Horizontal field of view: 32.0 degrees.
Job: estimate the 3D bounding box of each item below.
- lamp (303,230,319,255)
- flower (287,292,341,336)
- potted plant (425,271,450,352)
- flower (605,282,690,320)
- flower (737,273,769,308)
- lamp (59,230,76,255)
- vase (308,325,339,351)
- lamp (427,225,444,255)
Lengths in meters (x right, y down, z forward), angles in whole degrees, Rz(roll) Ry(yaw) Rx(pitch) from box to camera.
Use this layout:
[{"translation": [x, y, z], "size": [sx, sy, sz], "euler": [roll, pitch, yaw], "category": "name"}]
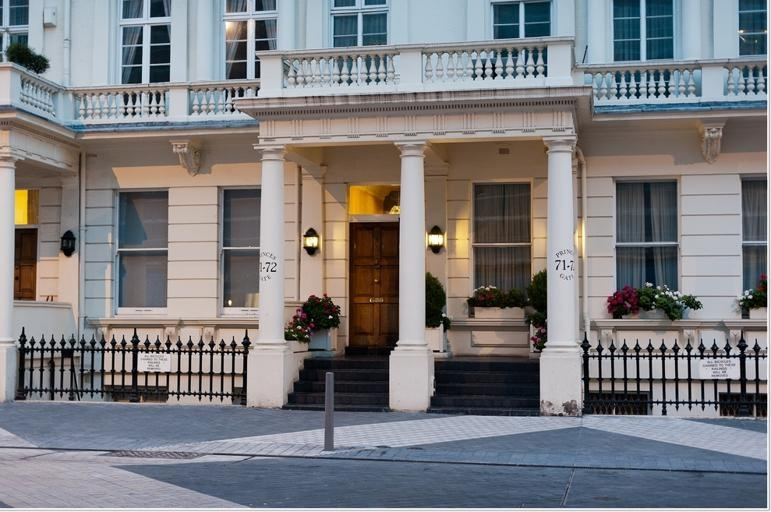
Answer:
[{"translation": [-1.854, -0.355, 33.944], "size": [0.419, 0.693, 0.211], "euler": [-1, 9, -7], "category": "lamp"}, {"translation": [-1.754, 1.445, 32.898], "size": [1.041, 0.670, 0.949], "euler": [-6, -5, 39], "category": "flower"}, {"translation": [1.259, 1.405, 32.825], "size": [0.569, 1.877, 1.173], "euler": [1, 9, 7], "category": "potted plant"}, {"translation": [6.418, 1.116, 32.422], "size": [2.125, 0.779, 0.546], "euler": [1, 9, 9], "category": "flower"}, {"translation": [8.815, 0.858, 32.439], "size": [0.870, 0.584, 0.754], "euler": [0, -6, 0], "category": "flower"}, {"translation": [-8.145, -0.325, 34.660], "size": [0.357, 0.671, 0.204], "euler": [-3, 9, -19], "category": "lamp"}, {"translation": [-1.550, 2.028, 33.471], "size": [0.752, 0.686, 0.567], "euler": [2, -3, -25], "category": "vase"}, {"translation": [1.265, -0.418, 33.650], "size": [0.505, 0.627, 0.159], "euler": [3, -2, 13], "category": "lamp"}]
